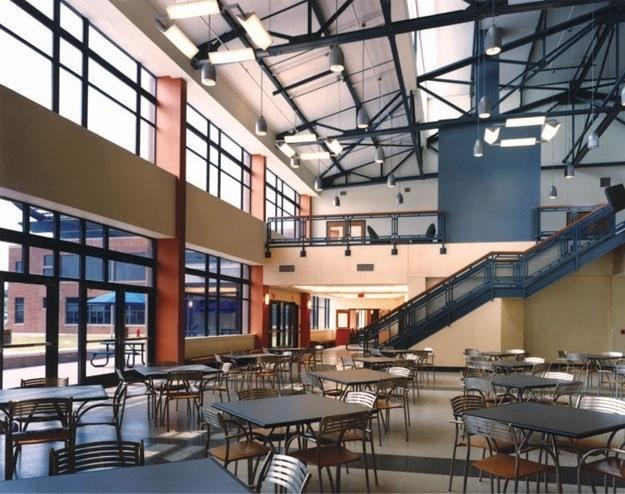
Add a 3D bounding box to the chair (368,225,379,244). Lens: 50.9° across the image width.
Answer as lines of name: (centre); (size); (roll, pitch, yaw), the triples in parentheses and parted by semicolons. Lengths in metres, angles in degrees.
chair: (1.789, -0.366, 19.419); (0.315, 0.512, 0.156); (-3, -11, 4)
